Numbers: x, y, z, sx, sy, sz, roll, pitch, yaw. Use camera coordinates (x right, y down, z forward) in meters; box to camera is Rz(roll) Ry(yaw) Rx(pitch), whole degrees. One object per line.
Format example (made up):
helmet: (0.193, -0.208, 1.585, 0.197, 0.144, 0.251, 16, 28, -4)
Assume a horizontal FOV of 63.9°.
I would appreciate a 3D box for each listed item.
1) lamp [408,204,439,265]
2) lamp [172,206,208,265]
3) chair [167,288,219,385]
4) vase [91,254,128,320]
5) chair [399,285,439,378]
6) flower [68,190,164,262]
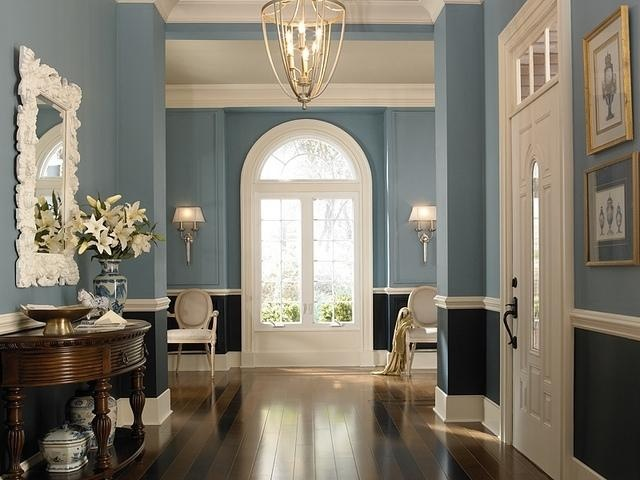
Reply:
lamp: (1.478, -0.108, 7.425, 0.375, 0.841, 0.246, 0, -1, 6)
lamp: (-1.887, -0.077, 7.423, 0.436, 0.833, 0.222, 1, -1, -13)
chair: (-1.764, 1.245, 6.957, 0.692, 1.287, 0.726, 0, -9, -8)
vase: (-1.707, 0.383, 4.248, 0.216, 0.445, 0.232, -2, 0, 12)
chair: (1.430, 1.162, 6.758, 0.623, 1.103, 0.679, -2, -5, 27)
flower: (-1.654, -0.085, 4.172, 0.576, 0.406, 0.607, 10, 3, 12)
